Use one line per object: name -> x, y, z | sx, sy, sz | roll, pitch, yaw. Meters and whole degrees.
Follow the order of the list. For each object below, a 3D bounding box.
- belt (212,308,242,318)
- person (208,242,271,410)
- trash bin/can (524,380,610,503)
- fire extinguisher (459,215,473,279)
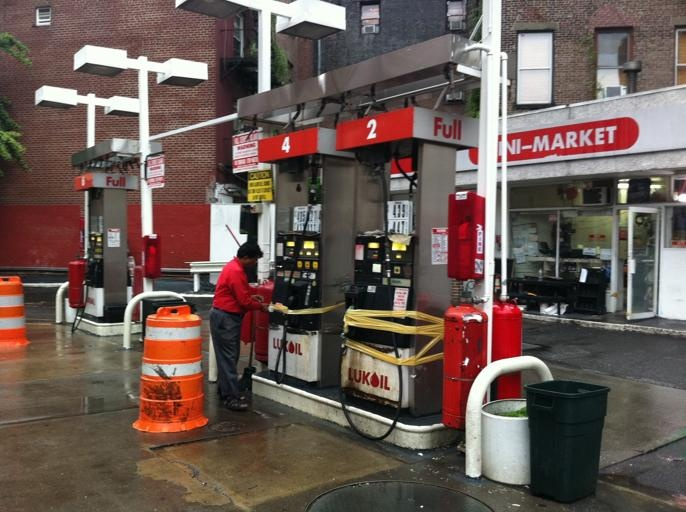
belt -> -1.718, 0.859, 10.616 | 0.299, 0.073, 0.200 | 3, -1, -14
person -> -1.578, 1.013, 10.623 | 0.785, 2.344, 0.880 | 2, 11, 7
trash bin/can -> 2.535, 2.149, 8.255 | 0.904, 1.259, 0.473 | 3, 11, 13
fire extinguisher -> 1.527, -0.097, 8.895 | 0.094, 0.756, 0.177 | -8, 14, -40
